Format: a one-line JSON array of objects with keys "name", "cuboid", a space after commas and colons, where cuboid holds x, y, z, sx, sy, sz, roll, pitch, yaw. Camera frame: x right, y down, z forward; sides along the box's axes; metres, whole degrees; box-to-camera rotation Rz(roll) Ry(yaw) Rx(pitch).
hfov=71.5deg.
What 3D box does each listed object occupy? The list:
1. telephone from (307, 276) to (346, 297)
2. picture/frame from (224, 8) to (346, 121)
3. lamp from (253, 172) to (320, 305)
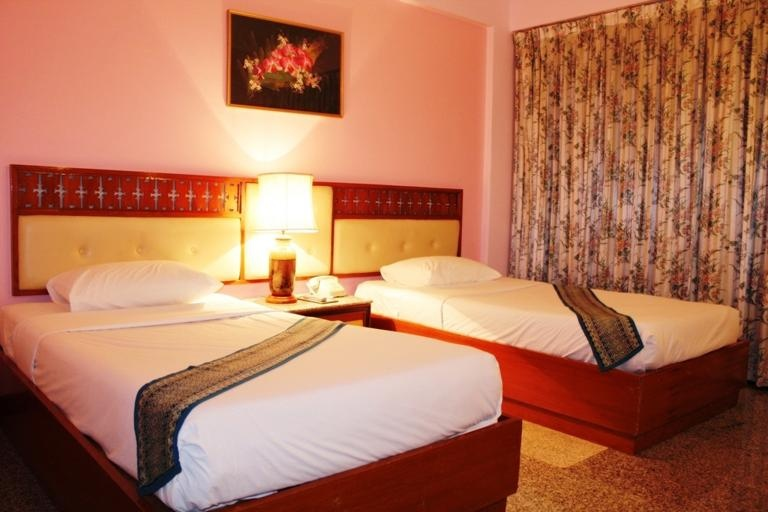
[{"name": "telephone", "cuboid": [-0.488, 0.238, 4.261, 0.183, 0.102, 0.217, -2, 6, -35]}, {"name": "picture/frame", "cuboid": [-0.850, -1.561, 4.329, 1.061, 0.728, 0.022, 0, 2, -33]}, {"name": "lamp", "cuboid": [-0.778, -0.150, 4.098, 0.468, 0.956, 0.448, 6, 10, 19]}]
